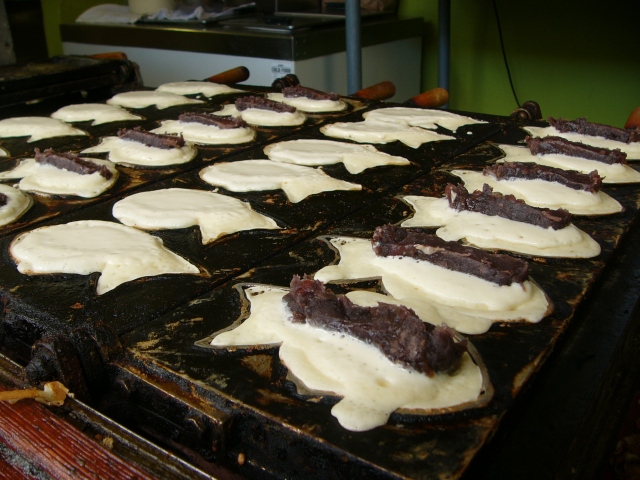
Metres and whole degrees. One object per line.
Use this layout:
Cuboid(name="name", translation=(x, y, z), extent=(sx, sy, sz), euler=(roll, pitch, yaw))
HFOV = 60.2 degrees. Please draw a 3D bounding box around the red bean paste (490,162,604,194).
Cuboid(name="red bean paste", translation=(0.587, -0.169, 1.435), extent=(0.246, 0.032, 0.114), euler=(8, 19, 25))
